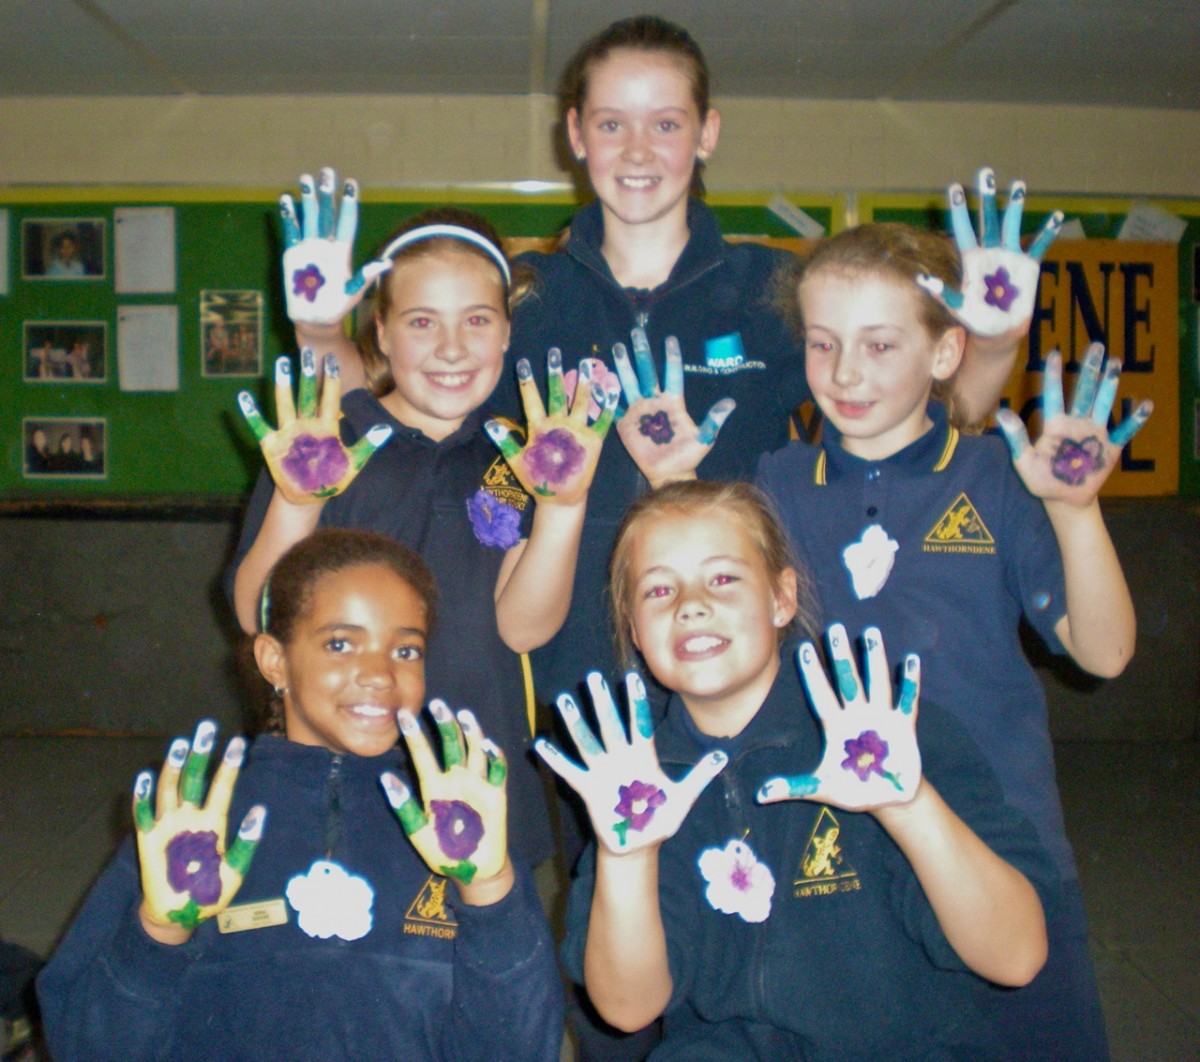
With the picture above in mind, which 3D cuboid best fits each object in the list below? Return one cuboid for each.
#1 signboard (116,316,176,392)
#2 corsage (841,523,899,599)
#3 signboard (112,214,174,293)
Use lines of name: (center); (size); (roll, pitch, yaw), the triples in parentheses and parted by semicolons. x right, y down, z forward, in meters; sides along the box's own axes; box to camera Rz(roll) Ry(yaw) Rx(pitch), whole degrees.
signboard: (-1.590, -0.629, 4.389); (0.239, 0.333, 0.036); (1, 11, 0)
corsage: (0.486, 0.052, 2.241); (0.103, 0.123, 0.028); (30, 3, 28)
signboard: (-1.594, -0.981, 4.372); (0.211, 0.306, 0.031); (-3, -2, -4)
